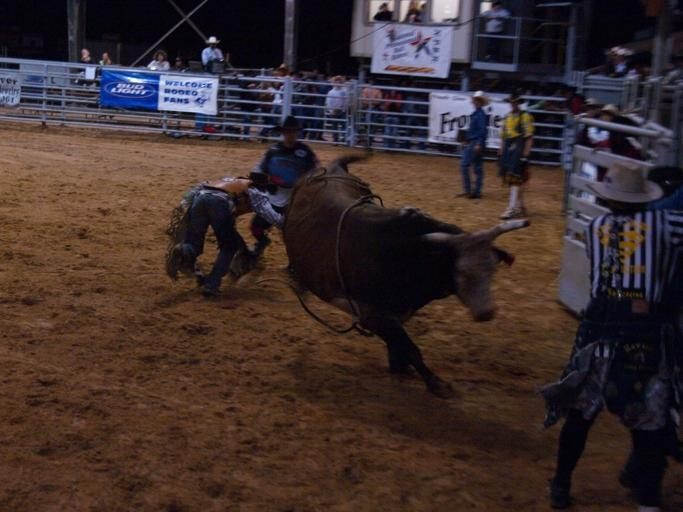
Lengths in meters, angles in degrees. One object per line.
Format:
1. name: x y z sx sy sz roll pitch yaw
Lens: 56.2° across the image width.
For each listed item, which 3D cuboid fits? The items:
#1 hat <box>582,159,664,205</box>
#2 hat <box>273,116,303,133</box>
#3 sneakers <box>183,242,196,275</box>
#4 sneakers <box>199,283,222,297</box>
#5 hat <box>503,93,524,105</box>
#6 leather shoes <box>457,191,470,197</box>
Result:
1. hat: 1.736 -0.459 3.848 0.384 0.113 0.374 6 19 26
2. hat: -0.593 -1.429 7.035 0.390 0.104 0.332 -2 12 -4
3. sneakers: -1.566 0.032 6.545 0.162 0.276 0.149 3 25 -12
4. sneakers: -1.345 0.345 6.723 0.118 0.152 0.219 15 16 39
5. hat: 2.795 -2.503 10.280 0.201 0.218 0.359 6 11 8
6. leather shoes: 2.166 -1.113 11.571 0.079 0.097 0.238 -45 14 -27
